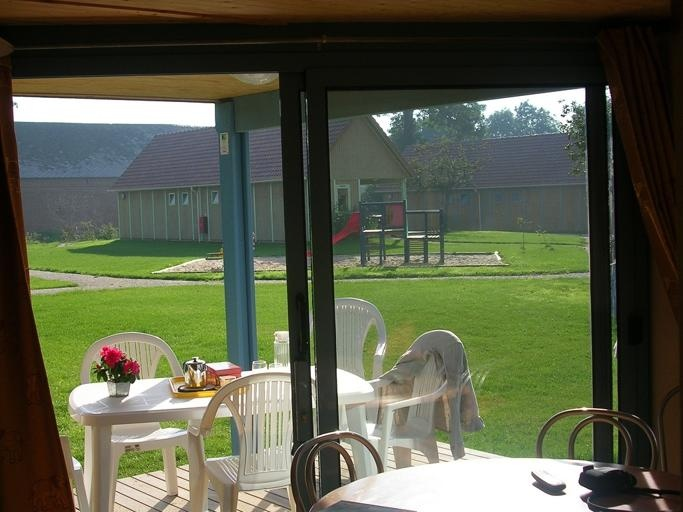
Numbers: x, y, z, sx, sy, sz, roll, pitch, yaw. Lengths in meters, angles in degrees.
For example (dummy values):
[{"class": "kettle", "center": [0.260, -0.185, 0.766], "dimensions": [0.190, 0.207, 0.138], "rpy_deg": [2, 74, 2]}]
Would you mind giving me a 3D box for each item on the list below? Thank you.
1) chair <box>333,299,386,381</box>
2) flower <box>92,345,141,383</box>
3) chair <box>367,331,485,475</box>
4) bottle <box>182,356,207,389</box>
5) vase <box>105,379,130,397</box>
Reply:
[{"class": "chair", "center": [0.089, 0.410, 3.270], "dimensions": [0.322, 0.495, 0.337], "rpy_deg": [0, -1, -7]}, {"class": "flower", "center": [-1.355, 0.641, 3.910], "dimensions": [0.237, 0.240, 0.249], "rpy_deg": [5, -3, -16]}, {"class": "chair", "center": [0.368, 0.750, 3.631], "dimensions": [0.668, 0.890, 0.566], "rpy_deg": [0, -1, -43]}, {"class": "bottle", "center": [-0.883, 0.711, 3.917], "dimensions": [0.168, 0.190, 0.123], "rpy_deg": [-2, 0, -6]}, {"class": "vase", "center": [-1.312, 0.768, 3.817], "dimensions": [0.097, 0.070, 0.096], "rpy_deg": [5, -7, -26]}]
